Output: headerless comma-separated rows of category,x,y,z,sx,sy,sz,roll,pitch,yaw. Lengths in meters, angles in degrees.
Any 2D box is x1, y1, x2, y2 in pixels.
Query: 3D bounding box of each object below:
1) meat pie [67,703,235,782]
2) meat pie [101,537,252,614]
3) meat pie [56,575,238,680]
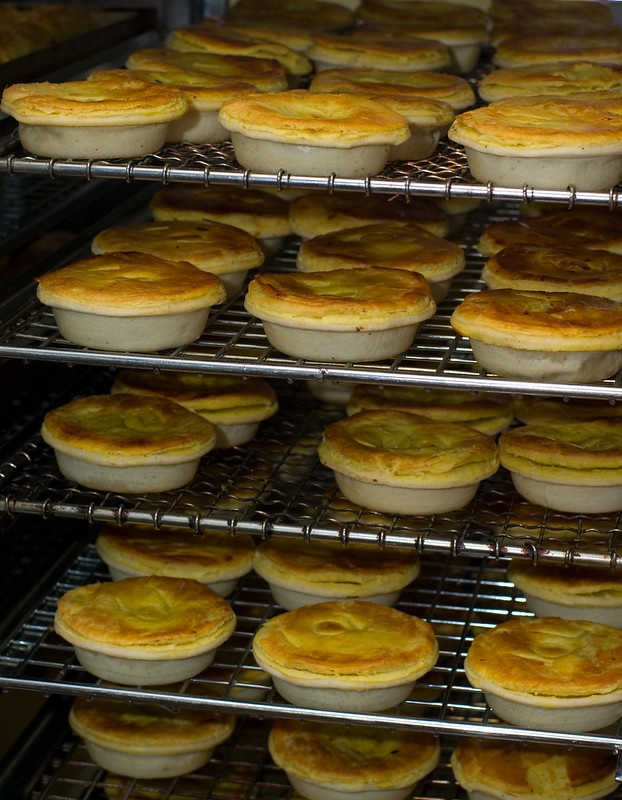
meat pie,-0.302,0.589,1.458,0.281,0.077,0.254,7,-5,-31
meat pie,-0.243,0.299,1.497,0.195,0.050,0.168,7,8,11
meat pie,-0.251,0.355,1.303,0.281,0.079,0.237,0,14,-12
